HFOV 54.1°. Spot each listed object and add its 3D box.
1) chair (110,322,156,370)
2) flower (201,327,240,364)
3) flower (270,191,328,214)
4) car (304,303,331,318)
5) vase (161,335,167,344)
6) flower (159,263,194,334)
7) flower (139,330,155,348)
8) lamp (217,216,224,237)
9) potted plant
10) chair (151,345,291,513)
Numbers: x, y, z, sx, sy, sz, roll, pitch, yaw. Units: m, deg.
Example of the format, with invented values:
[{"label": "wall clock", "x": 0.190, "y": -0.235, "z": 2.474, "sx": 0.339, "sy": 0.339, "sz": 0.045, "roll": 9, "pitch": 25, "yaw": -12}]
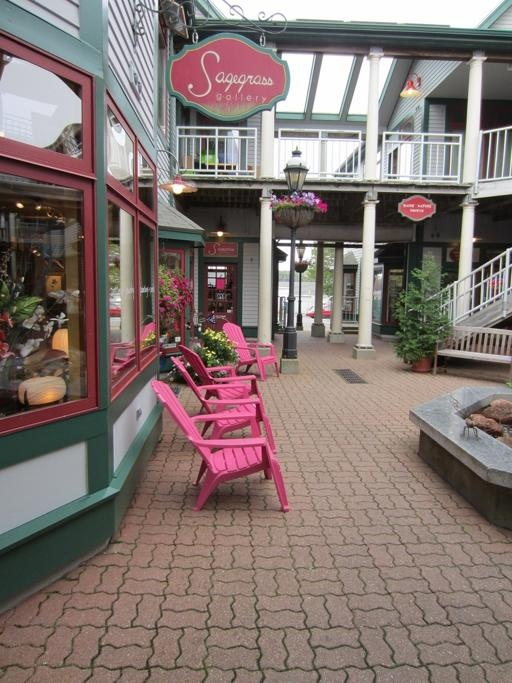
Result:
[{"label": "chair", "x": -0.931, "y": 0.079, "z": 3.602, "sx": 0.191, "sy": 0.254, "sz": 0.365, "roll": -1, "pitch": 6, "yaw": 15}, {"label": "flower", "x": -0.587, "y": 0.082, "z": 7.235, "sx": 0.552, "sy": 0.379, "sz": 0.515, "roll": 5, "pitch": 11, "yaw": 5}, {"label": "flower", "x": 0.731, "y": -2.449, "z": 8.814, "sx": 0.943, "sy": 0.387, "sz": 0.939, "roll": 1, "pitch": 9, "yaw": 25}, {"label": "car", "x": 4.006, "y": -1.864, "z": 31.599, "sx": 1.342, "sy": 1.026, "sz": 2.871, "roll": -1, "pitch": -6, "yaw": 4}, {"label": "vase", "x": -1.519, "y": -0.038, "z": 8.273, "sx": 0.118, "sy": 0.196, "sz": 0.111, "roll": -1, "pitch": 0, "yaw": -13}, {"label": "flower", "x": -1.293, "y": -0.642, "z": 8.079, "sx": 0.515, "sy": 1.165, "sz": 1.135, "roll": 0, "pitch": 6, "yaw": -11}, {"label": "flower", "x": -0.969, "y": -0.020, "z": 4.519, "sx": 0.089, "sy": 0.071, "sz": 0.135, "roll": -1, "pitch": 24, "yaw": -9}, {"label": "lamp", "x": -0.977, "y": -3.176, "z": 13.872, "sx": 0.244, "sy": 0.541, "sz": 0.460, "roll": 1, "pitch": 6, "yaw": -5}, {"label": "potted plant", "x": 3.266, "y": -0.500, "z": 9.859, "sx": 0.999, "sy": 2.146, "sz": 0.925, "roll": 3, "pitch": 6, "yaw": 13}, {"label": "chair", "x": -0.286, "y": 0.626, "z": 3.730, "sx": 0.946, "sy": 0.840, "sz": 0.982, "roll": -3, "pitch": 10, "yaw": -7}]
